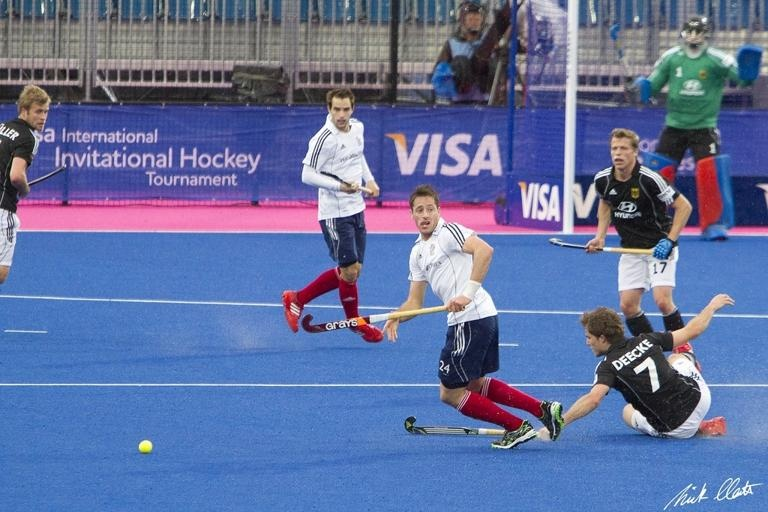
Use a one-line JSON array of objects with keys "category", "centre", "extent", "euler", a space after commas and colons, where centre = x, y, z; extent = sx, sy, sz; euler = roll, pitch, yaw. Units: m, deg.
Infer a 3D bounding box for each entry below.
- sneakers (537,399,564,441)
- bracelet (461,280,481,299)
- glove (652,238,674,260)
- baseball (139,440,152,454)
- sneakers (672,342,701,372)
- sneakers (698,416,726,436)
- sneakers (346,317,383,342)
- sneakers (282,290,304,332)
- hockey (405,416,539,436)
[{"category": "sneakers", "centre": [1.698, 1.661, 14.813], "extent": [0.210, 0.413, 0.217], "euler": [0, 8, 3]}, {"category": "bracelet", "centre": [0.891, 0.345, 14.917], "extent": [0.096, 0.147, 0.119], "euler": [28, -5, 43]}, {"category": "glove", "centre": [3.091, -0.075, 16.284], "extent": [0.168, 0.255, 0.104], "euler": [25, -21, 23]}, {"category": "baseball", "centre": [-2.370, 1.899, 14.713], "extent": [0.120, 0.116, 0.118], "euler": [-20, -34, 27]}, {"category": "sneakers", "centre": [3.266, 1.064, 15.803], "extent": [0.206, 0.260, 0.600], "euler": [-34, 7, 17]}, {"category": "sneakers", "centre": [3.372, 1.738, 15.047], "extent": [0.214, 0.084, 0.194], "euler": [-2, 24, 26]}, {"category": "sneakers", "centre": [-0.232, 0.881, 16.894], "extent": [0.511, 0.182, 0.215], "euler": [21, -2, -32]}, {"category": "sneakers", "centre": [-1.080, 0.642, 17.431], "extent": [0.254, 0.534, 0.182], "euler": [-14, 0, 5]}, {"category": "hockey", "centre": [0.903, 1.735, 15.063], "extent": [0.747, 0.179, 0.123], "euler": [0, 47, 6]}]
